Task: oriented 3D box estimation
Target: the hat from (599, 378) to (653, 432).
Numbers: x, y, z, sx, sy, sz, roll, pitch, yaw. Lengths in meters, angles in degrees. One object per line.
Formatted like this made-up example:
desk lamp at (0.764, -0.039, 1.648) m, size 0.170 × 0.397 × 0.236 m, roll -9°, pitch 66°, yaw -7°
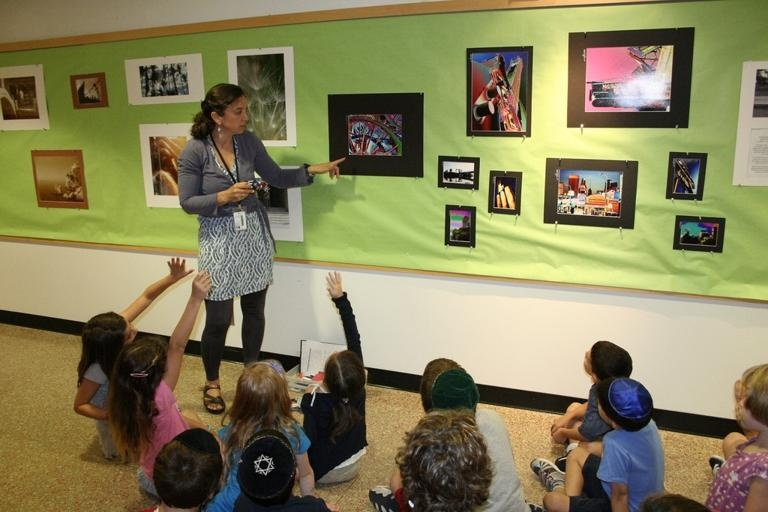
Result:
hat at (1.266, 0.757, 2.757) m, size 0.214 × 0.158 × 0.288 m, roll -27°, pitch 54°, yaw 0°

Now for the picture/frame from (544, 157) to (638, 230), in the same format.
picture/frame at (1.432, -0.436, 3.510) m, size 0.470 × 0.373 × 0.016 m, roll 4°, pitch 13°, yaw 16°

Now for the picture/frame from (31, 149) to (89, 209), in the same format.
picture/frame at (-2.925, -0.711, 4.679) m, size 0.494 × 0.496 × 0.052 m, roll 10°, pitch 27°, yaw 18°

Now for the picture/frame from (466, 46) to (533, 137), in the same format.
picture/frame at (0.811, -1.150, 3.559) m, size 0.589 × 0.757 × 0.034 m, roll 3°, pitch 14°, yaw 16°

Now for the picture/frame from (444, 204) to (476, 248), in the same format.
picture/frame at (0.564, -0.230, 3.773) m, size 0.302 × 0.402 × 0.018 m, roll 2°, pitch 7°, yaw 15°

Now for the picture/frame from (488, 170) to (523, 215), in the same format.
picture/frame at (0.865, -0.458, 3.653) m, size 0.297 × 0.395 × 0.055 m, roll 1°, pitch 8°, yaw 17°

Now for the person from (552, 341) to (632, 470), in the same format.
person at (1.274, 0.977, 3.375) m, size 0.478 × 0.809 × 0.574 m, roll -4°, pitch 6°, yaw -34°

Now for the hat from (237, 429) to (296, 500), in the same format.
hat at (-0.512, 0.914, 2.259) m, size 0.219 × 0.302 × 0.193 m, roll 2°, pitch -13°, yaw -5°

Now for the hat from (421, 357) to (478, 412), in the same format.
hat at (0.381, 0.688, 2.848) m, size 0.224 × 0.321 × 0.316 m, roll -10°, pitch -4°, yaw -25°

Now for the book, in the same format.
book at (-0.569, 0.918, 4.149) m, size 0.399 × 0.186 × 0.557 m, roll 0°, pitch 2°, yaw 28°

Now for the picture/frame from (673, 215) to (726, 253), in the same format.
picture/frame at (2.092, -0.148, 3.399) m, size 0.236 × 0.200 × 0.015 m, roll 3°, pitch 13°, yaw 15°

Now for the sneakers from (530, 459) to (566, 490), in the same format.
sneakers at (1.005, 1.332, 3.225) m, size 0.112 × 0.090 × 0.261 m, roll 27°, pitch 6°, yaw -42°

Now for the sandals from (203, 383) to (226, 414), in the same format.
sandals at (-1.279, 1.071, 3.874) m, size 0.107 × 0.107 × 0.295 m, roll -7°, pitch 28°, yaw -21°

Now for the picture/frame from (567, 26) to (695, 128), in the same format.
picture/frame at (1.638, -1.175, 3.352) m, size 0.662 × 0.512 × 0.009 m, roll 2°, pitch 11°, yaw 15°

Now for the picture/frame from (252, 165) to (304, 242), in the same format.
picture/frame at (-0.821, -0.418, 3.970) m, size 0.552 × 0.625 × 0.040 m, roll 7°, pitch 22°, yaw 24°

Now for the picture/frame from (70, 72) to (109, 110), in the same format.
picture/frame at (-2.550, -1.416, 4.453) m, size 0.385 × 0.290 × 0.044 m, roll 6°, pitch 13°, yaw 20°

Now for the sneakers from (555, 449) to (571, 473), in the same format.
sneakers at (1.128, 1.282, 3.274) m, size 0.097 × 0.109 × 0.164 m, roll 4°, pitch 11°, yaw 19°

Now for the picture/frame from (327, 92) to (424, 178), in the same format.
picture/frame at (-0.039, -0.908, 3.831) m, size 0.627 × 0.532 × 0.026 m, roll 3°, pitch 15°, yaw 15°

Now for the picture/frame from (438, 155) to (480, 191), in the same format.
picture/frame at (0.551, -0.601, 3.718) m, size 0.242 × 0.200 × 0.013 m, roll 3°, pitch 8°, yaw 15°
